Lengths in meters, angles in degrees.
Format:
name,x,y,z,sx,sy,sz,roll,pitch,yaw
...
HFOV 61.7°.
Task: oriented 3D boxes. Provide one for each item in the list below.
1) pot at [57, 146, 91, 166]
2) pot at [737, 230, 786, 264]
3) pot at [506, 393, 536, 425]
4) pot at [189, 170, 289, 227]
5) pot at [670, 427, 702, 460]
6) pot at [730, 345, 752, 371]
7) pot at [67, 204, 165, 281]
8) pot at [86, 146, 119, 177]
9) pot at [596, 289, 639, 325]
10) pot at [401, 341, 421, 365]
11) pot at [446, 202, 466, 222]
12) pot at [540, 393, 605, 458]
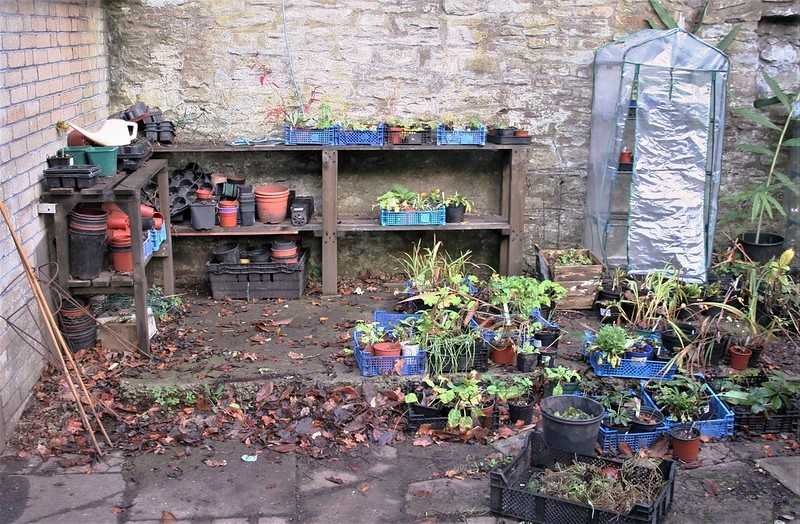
name,x,y,z,sx,sy,sz,roll,pitch,yaw
pot,-2.873,-0.928,5.877,0.179,0.145,0.209,2,12,6
pot,4.211,-0.179,7.736,0.499,0.252,0.474,-3,8,0
pot,1.037,1.224,5.585,0.240,0.210,0.163,-11,17,-28
pot,-1.743,-0.693,7.345,0.883,0.378,0.608,-1,16,-12
pot,2.206,1.385,5.225,0.255,0.221,0.240,-2,10,0
pot,3.074,0.862,6.020,0.210,0.170,0.211,0,5,0
pot,-2.657,-0.194,6.228,0.760,0.487,0.629,-3,13,-39
pot,-2.617,-0.890,5.891,0.240,0.196,0.283,2,12,-3
pot,2.217,0.457,6.805,0.368,0.246,0.356,0,7,0
pot,0.107,0.785,5.741,0.165,0.119,0.160,1,0,0
pot,0.630,-0.545,7.428,0.212,0.136,0.199,0,2,0
pot,1.306,1.200,5.007,0.449,0.331,0.471,0,2,0
